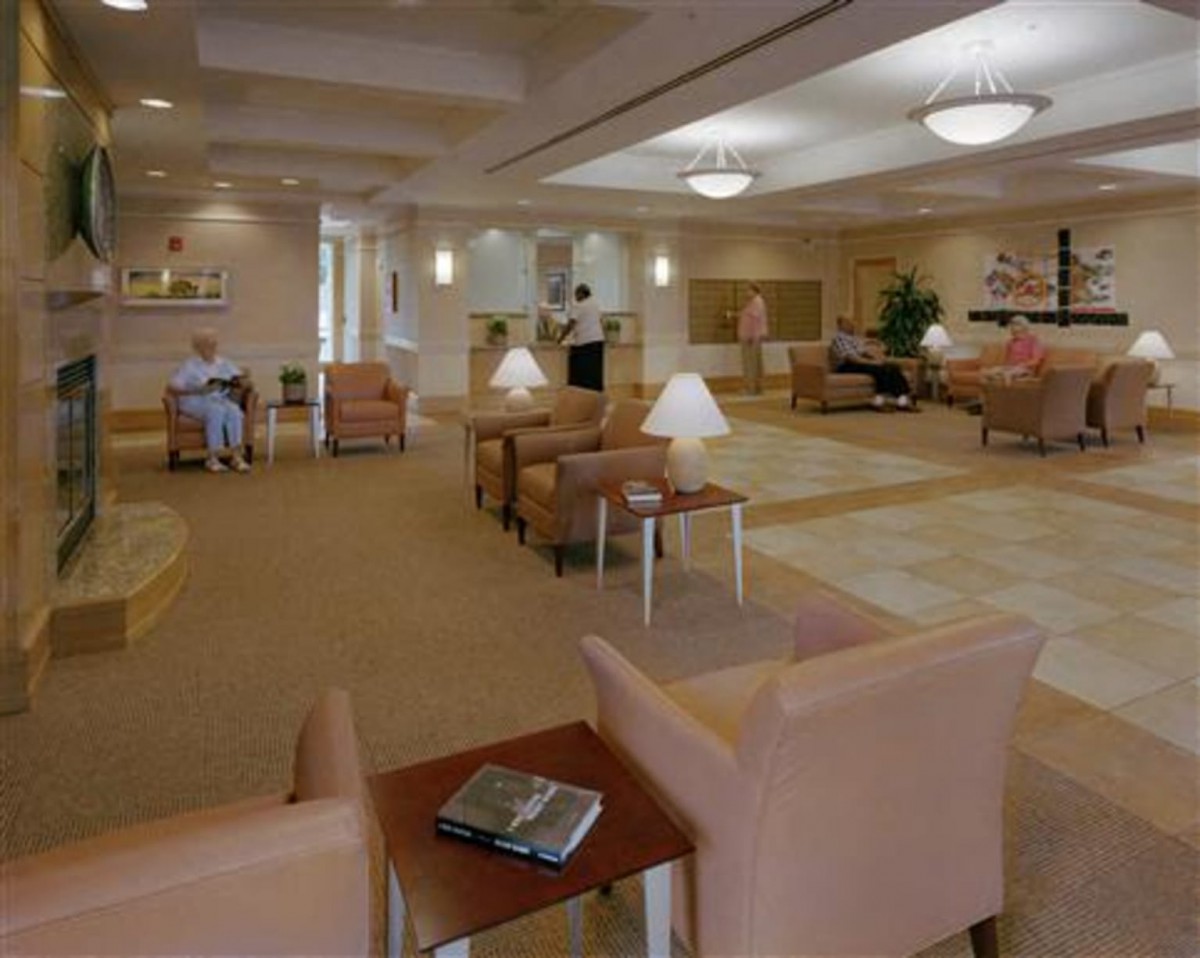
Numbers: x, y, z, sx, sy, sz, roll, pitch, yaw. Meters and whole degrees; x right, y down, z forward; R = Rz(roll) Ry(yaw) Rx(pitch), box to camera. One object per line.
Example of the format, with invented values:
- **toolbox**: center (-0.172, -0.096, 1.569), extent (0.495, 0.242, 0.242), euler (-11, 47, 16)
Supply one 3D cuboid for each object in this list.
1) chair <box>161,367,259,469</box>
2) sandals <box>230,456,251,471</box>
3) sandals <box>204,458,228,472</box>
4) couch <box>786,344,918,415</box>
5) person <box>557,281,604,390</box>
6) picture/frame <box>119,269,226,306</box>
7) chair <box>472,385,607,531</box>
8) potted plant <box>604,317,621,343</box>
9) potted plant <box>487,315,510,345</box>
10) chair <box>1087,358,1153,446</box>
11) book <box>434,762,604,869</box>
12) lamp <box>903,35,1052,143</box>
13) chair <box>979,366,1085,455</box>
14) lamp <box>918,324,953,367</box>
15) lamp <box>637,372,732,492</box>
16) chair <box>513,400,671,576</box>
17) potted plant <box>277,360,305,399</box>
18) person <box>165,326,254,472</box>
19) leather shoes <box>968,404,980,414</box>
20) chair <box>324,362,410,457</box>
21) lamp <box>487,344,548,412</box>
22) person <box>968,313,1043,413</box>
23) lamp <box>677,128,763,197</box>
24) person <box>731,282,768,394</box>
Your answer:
- **chair**: center (-3.978, -0.520, 8.499), extent (0.917, 1.318, 1.044), euler (0, 0, -16)
- **sandals**: center (-3.525, -0.153, 8.135), extent (0.100, 0.097, 0.189), euler (-6, 11, -41)
- **sandals**: center (-3.753, -0.148, 8.117), extent (0.113, 0.118, 0.258), euler (-4, 8, -33)
- **couch**: center (3.555, -1.548, 12.356), extent (1.503, 0.924, 1.021), euler (-9, 16, -31)
- **person**: center (-0.275, -2.131, 12.448), extent (0.608, 1.550, 0.886), euler (-2, 12, -7)
- **picture/frame**: center (-5.369, -2.439, 10.521), extent (1.221, 0.462, 0.262), euler (-10, 16, -34)
- **chair**: center (-0.506, -0.182, 6.578), extent (0.904, 1.102, 0.931), euler (4, 7, -15)
- **potted plant**: center (0.197, -2.427, 13.452), extent (0.249, 0.414, 0.312), euler (0, 13, 0)
- **potted plant**: center (-1.544, -2.271, 12.542), extent (0.341, 0.412, 0.301), euler (1, 3, -22)
- **chair**: center (5.673, -0.837, 9.274), extent (0.648, 0.860, 0.650), euler (-1, 5, -36)
- **book**: center (-0.194, 0.800, 2.010), extent (0.364, 0.076, 0.225), euler (5, 15, 18)
- **lamp**: center (2.824, -2.873, 6.224), extent (0.971, 0.788, 1.033), euler (7, 16, 36)
- **chair**: center (4.717, -0.848, 9.004), extent (0.889, 0.998, 1.048), euler (-5, 15, 1)
- **lamp**: center (5.280, -2.072, 13.026), extent (0.551, 0.847, 0.572), euler (1, 5, 39)
- **lamp**: center (0.528, -0.275, 4.780), extent (0.540, 0.767, 0.601), euler (-3, 10, -13)
- **chair**: center (-0.117, -0.096, 5.778), extent (1.004, 1.276, 1.036), euler (-3, 8, -27)
- **potted plant**: center (-3.157, -0.996, 8.551), extent (0.218, 0.376, 0.237), euler (-7, 14, -27)
- **person**: center (-3.810, -0.791, 8.117), extent (0.692, 1.339, 0.696), euler (-4, 13, -17)
- **leather shoes**: center (5.424, -1.020, 11.997), extent (0.142, 0.179, 0.432), euler (-1, 2, 36)
- **chair**: center (-2.577, -0.791, 9.093), extent (0.867, 0.922, 0.919), euler (-5, 14, -20)
- **lamp**: center (-0.683, -0.994, 7.405), extent (0.559, 0.787, 0.615), euler (-4, 13, -12)
- **person**: center (5.260, -1.469, 10.674), extent (0.745, 1.328, 0.531), euler (5, -1, -19)
- **lamp**: center (1.225, -3.338, 8.891), extent (0.870, 0.745, 0.985), euler (-2, 9, -6)
- **person**: center (2.564, -2.386, 14.007), extent (0.425, 1.843, 1.200), euler (2, 13, 10)
